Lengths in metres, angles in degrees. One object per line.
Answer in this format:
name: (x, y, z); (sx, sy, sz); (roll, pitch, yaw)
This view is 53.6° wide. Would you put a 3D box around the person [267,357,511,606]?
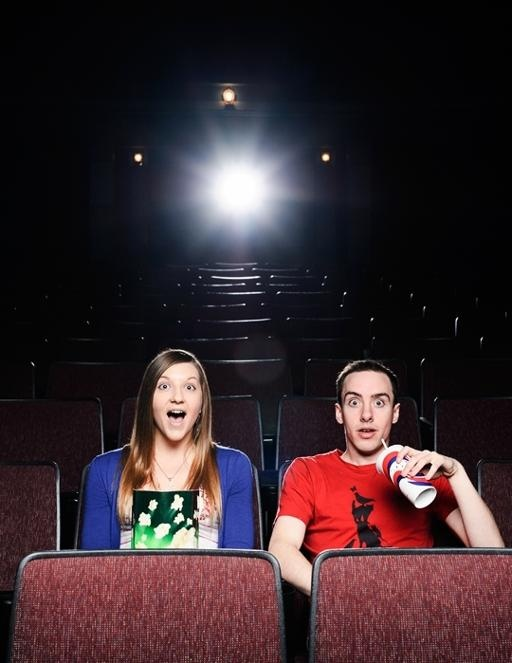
person: (0.290, 0.423, 1.543); (0.498, 1.001, 0.534); (0, -29, 1)
